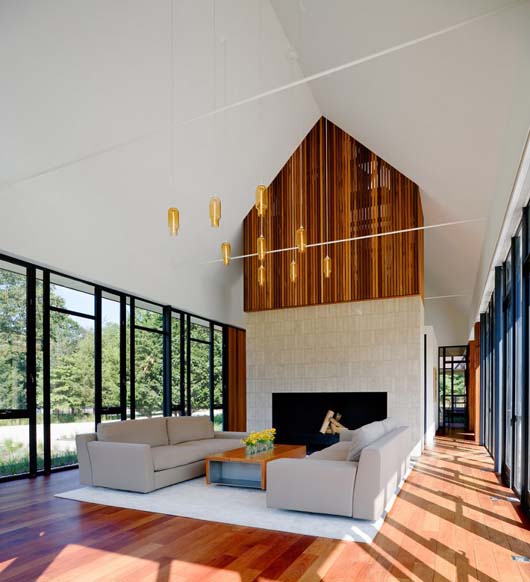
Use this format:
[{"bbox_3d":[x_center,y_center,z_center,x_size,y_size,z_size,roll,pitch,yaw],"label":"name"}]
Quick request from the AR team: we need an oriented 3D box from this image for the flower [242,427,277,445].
[{"bbox_3d":[-0.156,1.790,6.373,0.374,0.205,0.346,-11,-10,25],"label":"flower"}]
